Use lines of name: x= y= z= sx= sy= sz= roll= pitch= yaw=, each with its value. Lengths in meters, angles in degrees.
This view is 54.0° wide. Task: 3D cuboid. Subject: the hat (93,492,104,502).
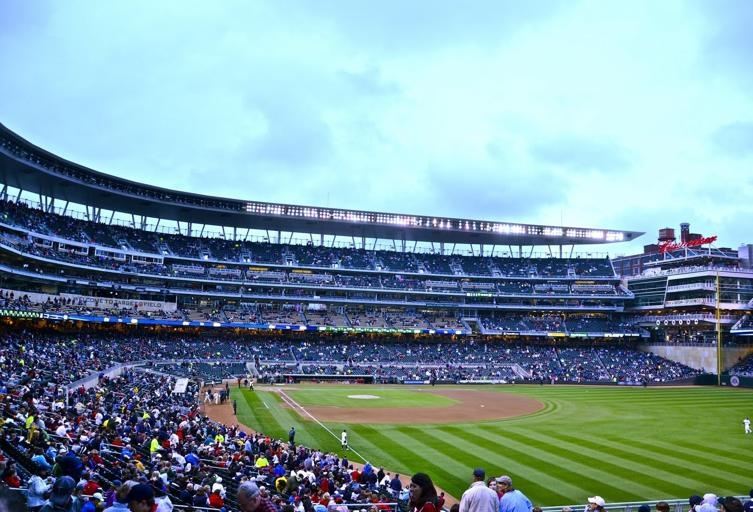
hat: x=-15.724 y=13.564 z=41.585 sx=0.592 sy=0.371 sz=0.797 roll=6 pitch=3 yaw=-14

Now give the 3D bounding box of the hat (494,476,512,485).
hat: x=7.096 y=12.543 z=41.469 sx=0.694 sy=0.462 sz=1.073 roll=6 pitch=3 yaw=3
